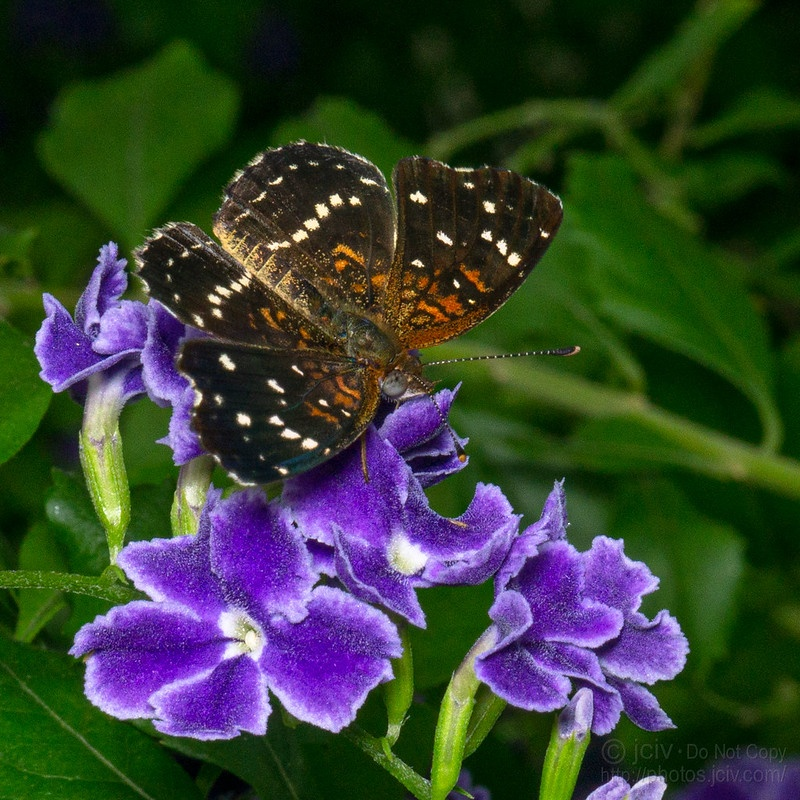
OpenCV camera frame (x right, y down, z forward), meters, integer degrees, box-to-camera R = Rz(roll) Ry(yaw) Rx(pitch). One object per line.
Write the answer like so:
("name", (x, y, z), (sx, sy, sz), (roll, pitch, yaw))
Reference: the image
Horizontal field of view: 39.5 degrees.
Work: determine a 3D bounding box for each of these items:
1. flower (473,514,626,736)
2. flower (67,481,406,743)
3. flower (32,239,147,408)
("flower", (0.168, 0.254, 1.309), (0.173, 0.146, 0.226), (-3, 52, -4))
("flower", (-0.186, 0.259, 1.291), (0.318, 0.128, 0.328), (-33, 72, -13))
("flower", (-0.396, -0.085, 1.433), (0.144, 0.161, 0.195), (-17, 54, -13))
